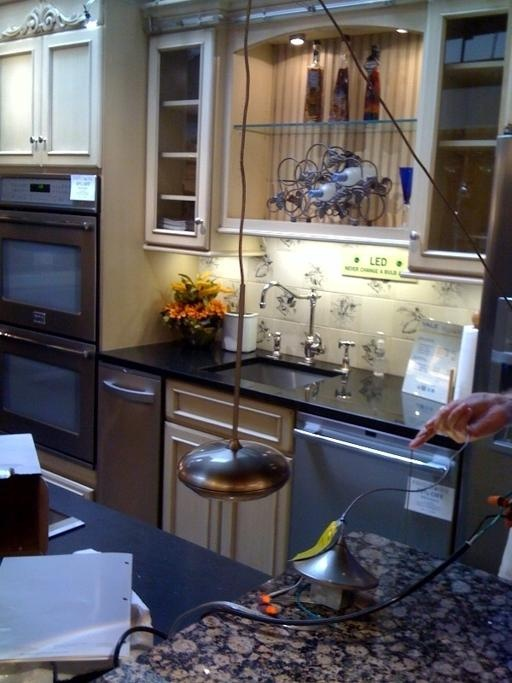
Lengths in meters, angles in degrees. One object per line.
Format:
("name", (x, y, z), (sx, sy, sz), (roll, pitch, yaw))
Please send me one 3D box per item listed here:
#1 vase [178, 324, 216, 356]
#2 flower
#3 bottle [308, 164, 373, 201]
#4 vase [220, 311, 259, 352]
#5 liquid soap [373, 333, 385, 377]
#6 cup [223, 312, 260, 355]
("vase", (-0.308, -0.011, 2.852), (0.145, 0.108, 0.155), (2, -4, -29))
("flower", (-0.333, -0.186, 2.930), (0.354, 0.347, 0.352), (1, 4, -8))
("bottle", (0.353, -0.651, 2.258), (0.174, 0.057, 0.058), (-25, 16, 0))
("vase", (-0.109, -0.054, 2.752), (0.190, 0.216, 0.187), (1, 5, -5))
("liquid soap", (0.563, 0.054, 2.509), (0.057, 0.199, 0.103), (6, 4, 11))
("cup", (-0.080, -0.037, 2.735), (0.184, 0.219, 0.192), (1, 1, 0))
